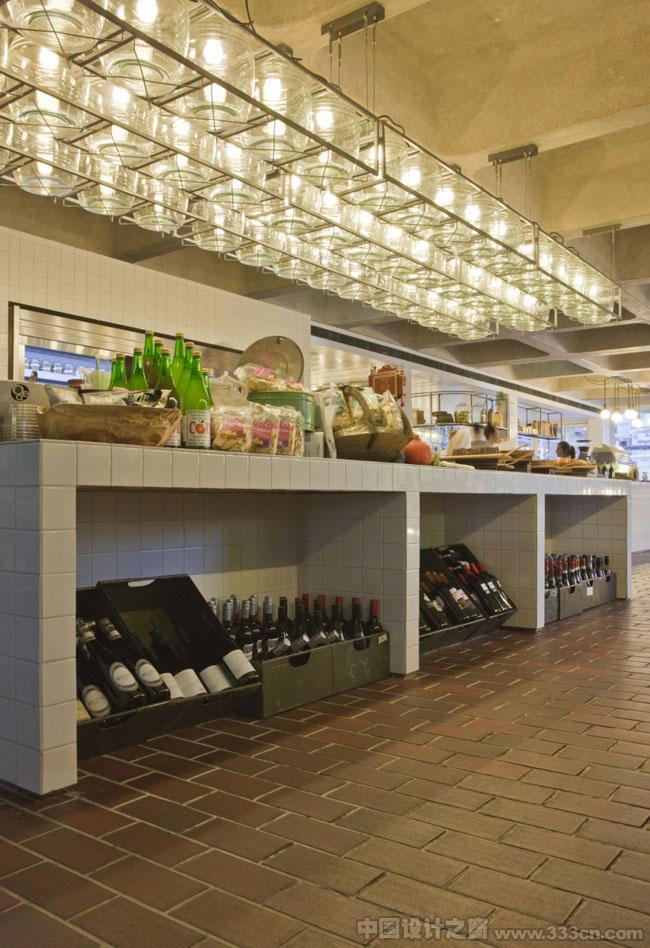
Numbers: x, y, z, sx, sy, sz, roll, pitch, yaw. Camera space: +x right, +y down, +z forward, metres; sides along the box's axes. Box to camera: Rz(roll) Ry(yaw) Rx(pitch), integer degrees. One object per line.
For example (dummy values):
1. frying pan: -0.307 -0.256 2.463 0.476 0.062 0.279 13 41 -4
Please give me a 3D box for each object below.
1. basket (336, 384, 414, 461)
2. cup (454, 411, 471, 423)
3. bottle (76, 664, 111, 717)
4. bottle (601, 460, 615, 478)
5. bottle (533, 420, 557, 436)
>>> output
1. basket: 0.197 -0.185 3.239 0.320 0.263 0.370 -3 -2 28
2. cup: 1.295 -0.555 7.095 0.166 0.113 0.140 5 -33 5
3. bottle: -0.647 0.617 2.130 0.066 0.073 0.192 -21 19 -24
4. bottle: 2.864 -0.056 7.536 0.161 0.189 0.160 3 7 45
5. bottle: 3.714 -0.782 12.526 0.265 0.269 0.380 6 10 43
